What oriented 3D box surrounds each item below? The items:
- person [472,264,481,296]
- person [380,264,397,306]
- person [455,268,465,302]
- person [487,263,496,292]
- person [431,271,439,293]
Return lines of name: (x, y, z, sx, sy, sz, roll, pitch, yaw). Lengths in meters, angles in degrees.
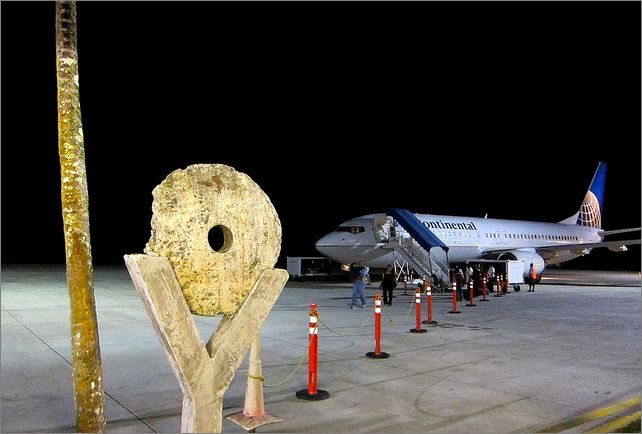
person: (8.184, 3.326, 23.911, 0.428, 1.465, 1.638, 1, 2, 18)
person: (2.844, 2.955, 19.532, 0.517, 1.691, 1.420, 1, 2, 8)
person: (6.549, 3.156, 21.458, 0.389, 1.432, 1.089, 1, 2, 16)
person: (9.890, 3.646, 26.446, 0.429, 1.316, 1.847, 1, 2, 21)
person: (6.601, 3.717, 26.228, 0.492, 1.249, 1.199, 1, 2, 13)
